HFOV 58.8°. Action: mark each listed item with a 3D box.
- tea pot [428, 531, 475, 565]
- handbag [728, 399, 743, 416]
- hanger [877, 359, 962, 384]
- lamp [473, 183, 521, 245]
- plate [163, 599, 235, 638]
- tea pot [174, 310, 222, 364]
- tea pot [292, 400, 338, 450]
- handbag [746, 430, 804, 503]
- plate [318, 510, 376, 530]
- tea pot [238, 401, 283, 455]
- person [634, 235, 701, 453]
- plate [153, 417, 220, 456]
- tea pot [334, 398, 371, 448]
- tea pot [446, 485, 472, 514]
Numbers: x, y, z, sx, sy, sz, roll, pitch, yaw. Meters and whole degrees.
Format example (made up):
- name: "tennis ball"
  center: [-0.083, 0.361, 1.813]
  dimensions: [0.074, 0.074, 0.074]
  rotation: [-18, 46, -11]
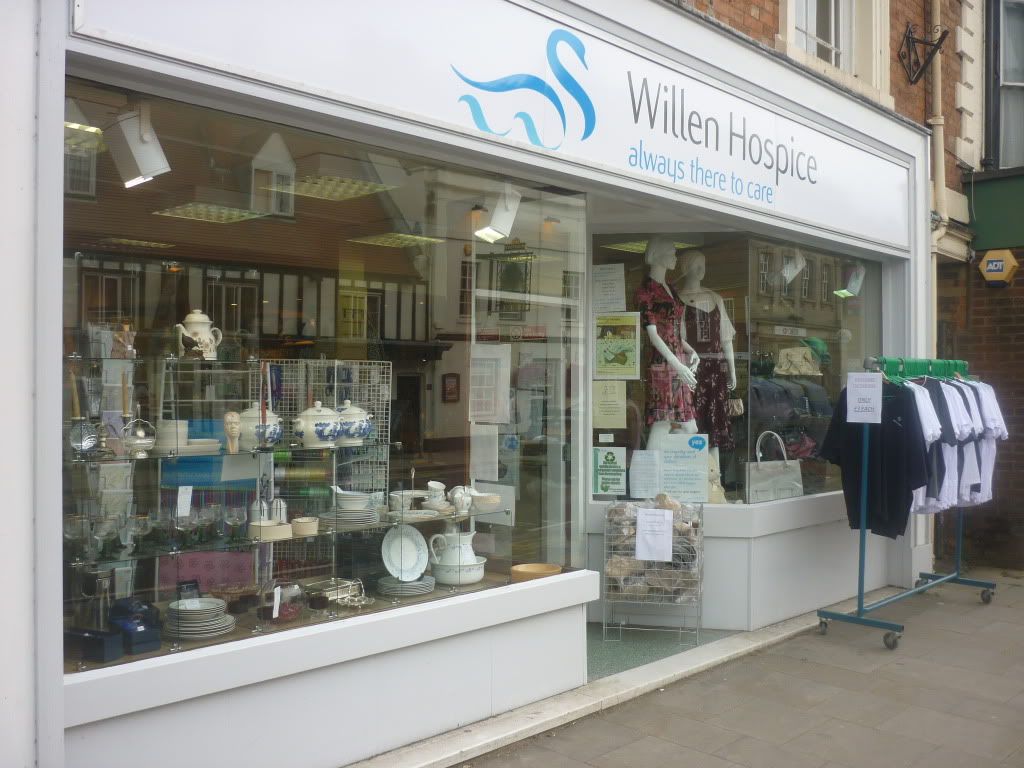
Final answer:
- name: "tea pot"
  center: [-0.336, 0.936, 5.190]
  dimensions: [0.239, 0.204, 0.165]
  rotation: [0, -5, -3]
- name: "handbag"
  center: [1.736, 0.180, 7.158]
  dimensions: [0.113, 0.187, 0.147]
  rotation: [1, 0, -8]
- name: "hanger"
  center: [3.380, -0.124, 7.501]
  dimensions: [1.316, 0.161, 0.275]
  rotation: [-1, 5, -44]
- name: "lamp"
  center: [-0.082, -1.016, 5.428]
  dimensions: [0.088, 0.346, 0.333]
  rotation: [5, 4, 39]
- name: "plate"
  center: [-1.455, 1.093, 4.211]
  dimensions: [0.207, 0.075, 0.205]
  rotation: [1, 2, 16]
- name: "tea pot"
  center: [-1.492, -0.232, 4.233]
  dimensions: [0.233, 0.211, 0.173]
  rotation: [6, -6, -32]
- name: "tea pot"
  center: [-1.006, 0.222, 4.743]
  dimensions: [0.180, 0.206, 0.248]
  rotation: [-3, -7, 17]
- name: "handbag"
  center: [2.067, 0.635, 7.160]
  dimensions: [0.184, 0.534, 0.746]
  rotation: [5, 4, 41]
- name: "plate"
  center: [-0.885, 0.716, 4.757]
  dimensions: [0.144, 0.050, 0.144]
  rotation: [-1, 0, 28]
- name: "tea pot"
  center: [-1.251, 0.222, 4.489]
  dimensions: [0.218, 0.270, 0.221]
  rotation: [-2, -2, 0]
- name: "person"
  center: [1.202, -0.315, 6.973]
  dimensions: [0.498, 1.573, 0.223]
  rotation: [2, 3, 1]
- name: "plate"
  center: [-1.536, 0.247, 4.289]
  dimensions: [0.162, 0.180, 0.293]
  rotation: [6, 5, 43]
- name: "tea pot"
  center: [-0.845, 0.199, 4.892]
  dimensions: [0.207, 0.232, 0.284]
  rotation: [-2, -2, 45]
- name: "tea pot"
  center: [-0.302, 0.671, 5.320]
  dimensions: [0.125, 0.149, 0.157]
  rotation: [4, -9, -23]
